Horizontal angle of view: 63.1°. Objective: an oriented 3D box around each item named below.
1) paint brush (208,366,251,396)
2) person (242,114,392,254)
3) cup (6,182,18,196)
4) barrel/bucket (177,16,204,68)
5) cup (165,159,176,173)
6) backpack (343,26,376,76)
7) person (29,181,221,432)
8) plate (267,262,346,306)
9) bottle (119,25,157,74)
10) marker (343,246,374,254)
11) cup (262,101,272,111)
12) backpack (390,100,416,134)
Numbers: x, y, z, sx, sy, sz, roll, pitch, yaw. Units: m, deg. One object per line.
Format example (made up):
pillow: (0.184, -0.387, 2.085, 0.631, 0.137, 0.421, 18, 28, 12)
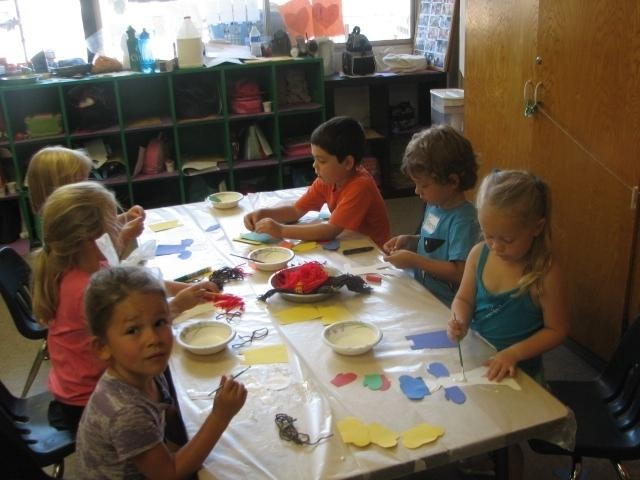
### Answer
paint brush: (-0.265, 0.433, 1.630, 0.221, 0.026, 0.043, -13, -16, -16)
person: (0.023, -0.286, 2.732, 0.777, 0.700, 0.537, -15, 25, -32)
cup: (-2.529, -0.424, 4.277, 0.120, 0.092, 0.077, -1, 2, -36)
barrel/bucket: (-1.099, -1.647, 4.319, 0.232, 0.394, 0.237, 3, 29, -2)
cup: (-1.312, -0.648, 4.560, 0.097, 0.105, 0.100, 1, 12, 0)
backpack: (0.355, -1.770, 4.965, 0.354, 0.453, 0.292, -19, 25, -36)
person: (-0.744, 0.336, 2.077, 0.667, 1.091, 0.402, -6, 18, -17)
plate: (-0.073, 0.193, 2.016, 0.211, 0.042, 0.178, -13, 35, -8)
bottle: (-1.498, -1.573, 4.303, 0.246, 0.359, 0.349, -12, 22, -19)
marker: (0.171, 0.046, 2.397, 0.105, 0.015, 0.034, -15, 27, -11)
cup: (-0.463, -1.171, 4.573, 0.075, 0.105, 0.107, 2, 19, 4)
backpack: (0.847, -1.264, 5.282, 0.321, 0.345, 0.245, 2, -3, -7)
